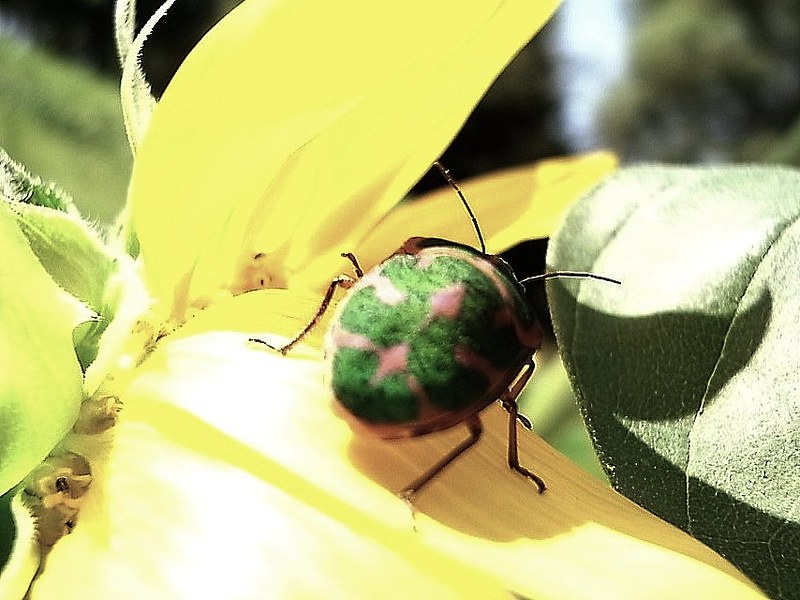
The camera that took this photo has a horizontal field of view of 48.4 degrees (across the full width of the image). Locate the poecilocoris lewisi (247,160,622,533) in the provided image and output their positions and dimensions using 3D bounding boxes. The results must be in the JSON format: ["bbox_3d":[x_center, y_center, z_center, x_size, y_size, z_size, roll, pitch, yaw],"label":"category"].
[{"bbox_3d":[0.018,0.048,0.830,0.247,0.084,0.262,-39,73,-23],"label":"poecilocoris lewisi"}]
